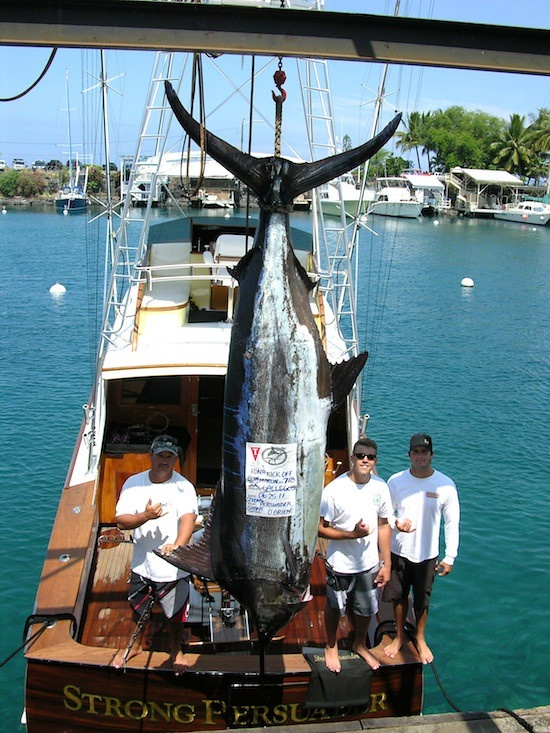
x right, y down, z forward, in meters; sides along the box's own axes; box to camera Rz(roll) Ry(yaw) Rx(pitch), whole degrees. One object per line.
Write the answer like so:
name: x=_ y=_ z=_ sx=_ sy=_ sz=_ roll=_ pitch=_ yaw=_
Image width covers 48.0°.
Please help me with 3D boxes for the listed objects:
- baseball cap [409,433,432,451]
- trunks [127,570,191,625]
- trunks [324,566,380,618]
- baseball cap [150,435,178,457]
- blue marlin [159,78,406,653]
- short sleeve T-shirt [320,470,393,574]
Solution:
baseball cap: x=0.884 y=0.452 z=3.675 sx=0.112 sy=0.086 sz=0.159 roll=0 pitch=-14 yaw=10
trunks: x=-0.660 y=1.318 z=3.617 sx=0.395 sy=0.280 sz=0.216 roll=-9 pitch=-21 yaw=20
trunks: x=0.460 y=1.310 z=3.640 sx=0.316 sy=0.260 sz=0.182 roll=0 pitch=-10 yaw=9
baseball cap: x=-0.589 y=0.423 z=3.350 sx=0.109 sy=0.071 sz=0.131 roll=3 pitch=-6 yaw=-2
blue marlin: x=0.007 y=0.011 z=2.717 sx=0.949 sy=2.128 sz=0.251 roll=2 pitch=7 yaw=0
short sleeve T-shirt: x=0.467 y=0.890 z=3.529 sx=0.527 sy=0.536 sz=0.220 roll=0 pitch=4 yaw=-21
